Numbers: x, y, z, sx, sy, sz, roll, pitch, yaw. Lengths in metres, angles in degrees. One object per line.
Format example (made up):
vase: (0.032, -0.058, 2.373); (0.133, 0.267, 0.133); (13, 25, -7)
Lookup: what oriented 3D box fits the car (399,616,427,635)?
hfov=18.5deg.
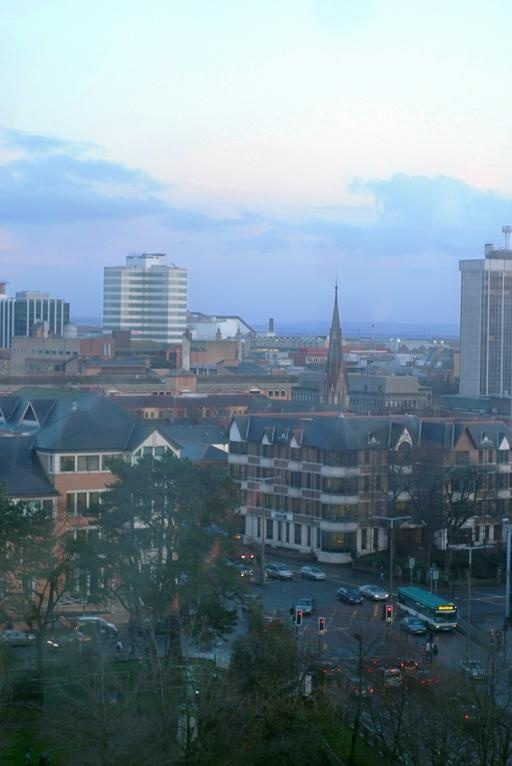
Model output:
car: (9.365, 14.392, 93.551); (1.106, 0.887, 2.220); (-1, 1, -11)

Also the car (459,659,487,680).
car: (11.210, 14.565, 79.899); (0.947, 0.873, 2.333); (-2, -9, -4)

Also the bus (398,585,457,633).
bus: (10.153, 13.518, 95.332); (1.340, 1.837, 5.592); (-2, 0, -11)

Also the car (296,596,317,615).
car: (3.097, 13.622, 96.598); (0.969, 0.994, 2.595); (-1, -9, 5)
